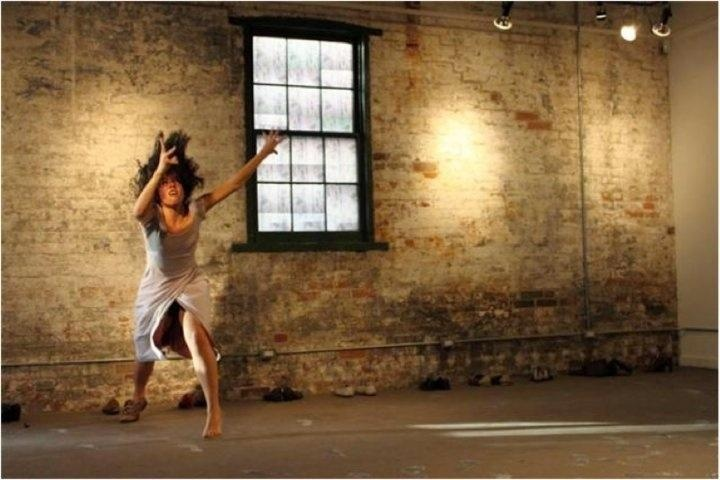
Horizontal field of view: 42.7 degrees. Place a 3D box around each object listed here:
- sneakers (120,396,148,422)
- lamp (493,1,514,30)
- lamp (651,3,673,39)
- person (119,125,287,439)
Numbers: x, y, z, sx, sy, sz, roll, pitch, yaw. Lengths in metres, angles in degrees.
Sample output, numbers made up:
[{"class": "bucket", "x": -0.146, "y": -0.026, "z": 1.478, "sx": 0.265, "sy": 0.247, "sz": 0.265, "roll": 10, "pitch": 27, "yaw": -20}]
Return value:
[{"class": "sneakers", "x": -2.358, "y": 1.791, "z": 9.608, "sx": 0.162, "sy": 0.133, "sz": 0.298, "roll": -2, "pitch": 4, "yaw": 12}, {"class": "lamp", "x": 1.727, "y": -2.714, "z": 11.070, "sx": 0.252, "sy": 0.385, "sz": 0.509, "roll": -1, "pitch": 1, "yaw": 9}, {"class": "lamp", "x": 3.769, "y": -2.731, "z": 11.531, "sx": 0.255, "sy": 0.463, "sz": 0.908, "roll": -1, "pitch": 1, "yaw": 18}, {"class": "person", "x": -1.810, "y": 0.395, "z": 9.475, "sx": 1.122, "sy": 2.149, "sz": 1.593, "roll": -2, "pitch": 1, "yaw": -33}]
